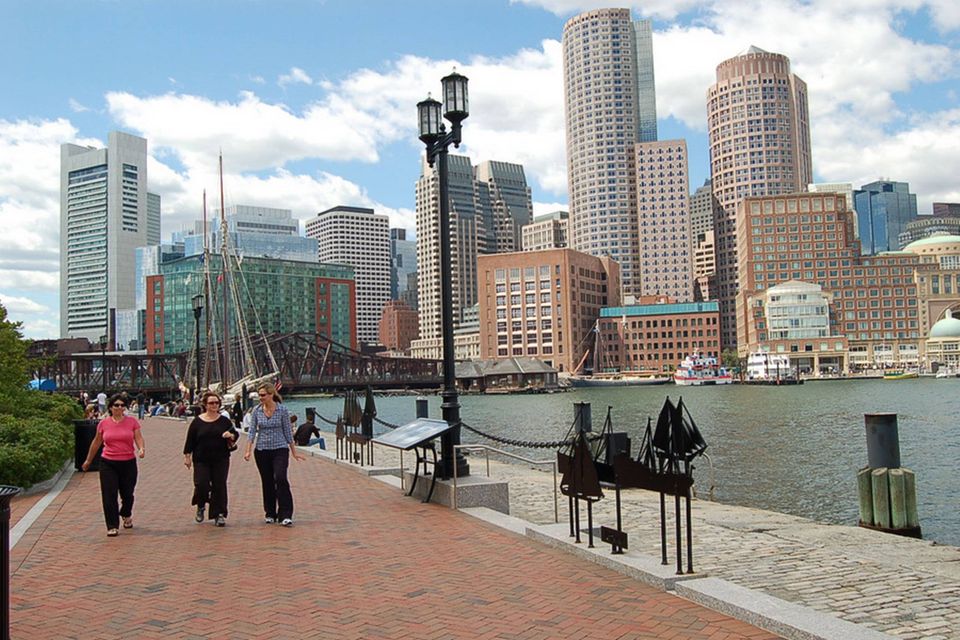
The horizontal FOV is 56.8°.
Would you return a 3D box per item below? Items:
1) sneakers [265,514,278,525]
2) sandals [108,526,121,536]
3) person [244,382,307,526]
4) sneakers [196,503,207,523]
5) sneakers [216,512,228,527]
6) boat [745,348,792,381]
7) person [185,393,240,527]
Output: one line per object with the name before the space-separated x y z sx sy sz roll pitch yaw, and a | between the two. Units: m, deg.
sneakers | -3.761 3.576 15.967 0.111 0.114 0.259 0 -17 1
sandals | -6.241 3.575 15.091 0.182 0.150 0.216 1 -5 -30
person | -3.682 2.364 15.805 1.019 2.389 1.071 -2 -3 29
sneakers | -5.018 3.458 15.945 0.163 0.442 0.171 1 -6 -10
sneakers | -4.595 3.506 15.691 0.175 0.215 0.511 1 -11 -12
boat | 47.979 7.356 145.990 5.984 5.275 11.652 -1 -4 -3
person | -4.863 2.485 16.070 0.876 2.326 1.507 0 -4 -18
